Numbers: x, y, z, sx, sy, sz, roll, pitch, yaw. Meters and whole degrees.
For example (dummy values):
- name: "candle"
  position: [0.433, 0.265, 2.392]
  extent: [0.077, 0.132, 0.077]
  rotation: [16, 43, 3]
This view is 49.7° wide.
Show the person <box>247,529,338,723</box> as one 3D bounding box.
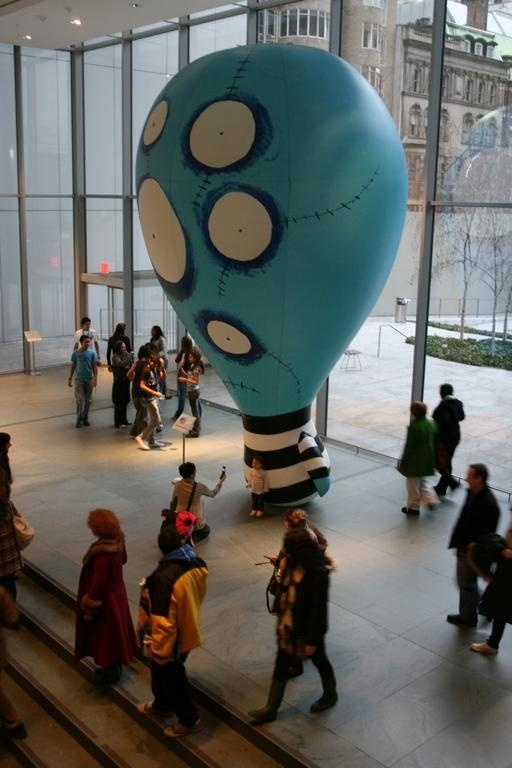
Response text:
- name: "person"
  position: [0.184, 1.135, 2.585]
  extent: [0.423, 0.909, 0.290]
  rotation: [0, 3, -13]

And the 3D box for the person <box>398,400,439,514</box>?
- name: "person"
  position: [1.746, 0.807, 5.959]
  extent: [0.370, 1.367, 0.745]
  rotation: [3, 10, 20]

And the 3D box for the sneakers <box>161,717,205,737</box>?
- name: "sneakers"
  position: [-0.386, 1.789, 2.889]
  extent: [0.191, 0.087, 0.077]
  rotation: [4, 2, -12]

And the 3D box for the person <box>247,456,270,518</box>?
- name: "person"
  position: [0.019, 1.110, 6.031]
  extent: [0.205, 0.707, 0.272]
  rotation: [0, 10, -1]

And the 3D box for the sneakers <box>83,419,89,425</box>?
- name: "sneakers"
  position: [-2.852, 0.644, 9.278]
  extent: [0.077, 0.090, 0.127]
  rotation: [8, 46, -10]

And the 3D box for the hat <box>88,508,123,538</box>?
- name: "hat"
  position: [-0.792, 0.742, 2.910]
  extent: [0.158, 0.205, 0.207]
  rotation: [-3, 10, -15]

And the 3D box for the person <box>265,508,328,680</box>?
- name: "person"
  position: [0.212, 1.177, 2.790]
  extent: [0.285, 1.113, 0.626]
  rotation: [0, 10, -2]

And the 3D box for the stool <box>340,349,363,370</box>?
- name: "stool"
  position: [1.431, -0.382, 8.331]
  extent: [0.325, 0.343, 0.288]
  rotation: [-1, 6, -9]

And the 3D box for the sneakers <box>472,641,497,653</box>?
- name: "sneakers"
  position: [1.530, 1.773, 3.695]
  extent: [0.130, 0.052, 0.069]
  rotation: [13, 9, 27]

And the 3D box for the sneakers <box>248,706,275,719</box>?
- name: "sneakers"
  position: [0.030, 1.711, 2.861]
  extent: [0.137, 0.061, 0.072]
  rotation: [9, -11, 1]
